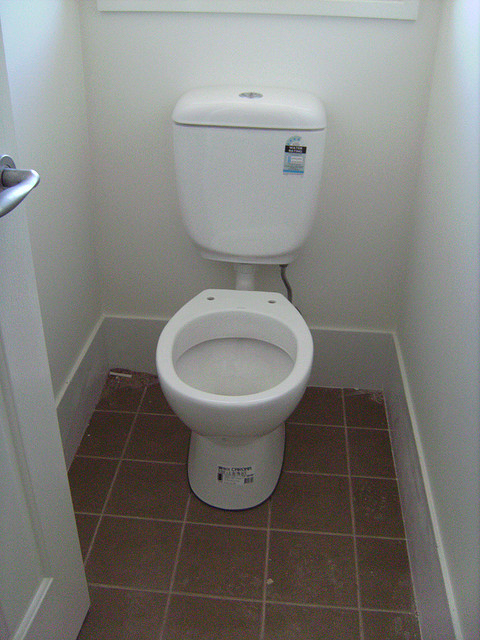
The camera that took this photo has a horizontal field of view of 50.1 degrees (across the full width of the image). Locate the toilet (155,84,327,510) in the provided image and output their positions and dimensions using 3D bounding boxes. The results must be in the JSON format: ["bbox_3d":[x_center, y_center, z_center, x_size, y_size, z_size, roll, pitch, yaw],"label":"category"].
[{"bbox_3d":[-0.004,-0.045,1.312,0.380,0.894,0.694,4,32,2],"label":"toilet"}]

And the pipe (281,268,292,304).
[{"bbox_3d":[0.144,-0.108,1.570,0.027,0.115,0.022,-15,53,9],"label":"pipe"}]

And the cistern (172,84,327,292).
[{"bbox_3d":[0.019,-0.326,1.536,0.403,0.812,0.295,3,46,2],"label":"cistern"}]
